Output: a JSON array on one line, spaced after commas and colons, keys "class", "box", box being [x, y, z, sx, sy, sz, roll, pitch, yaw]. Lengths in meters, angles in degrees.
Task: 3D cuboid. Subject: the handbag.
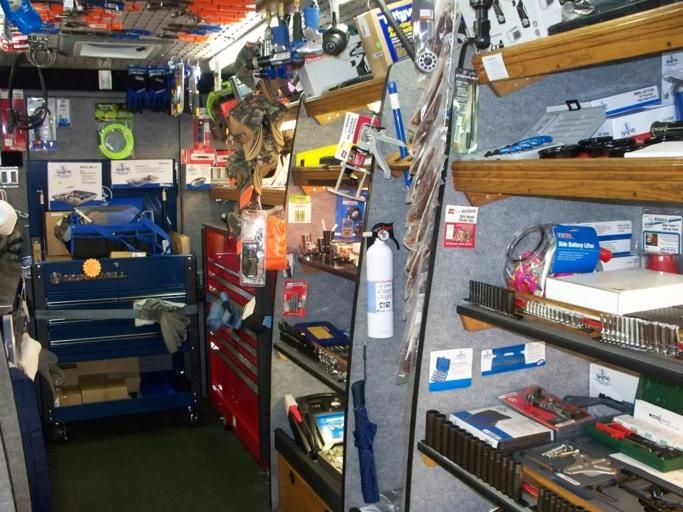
[{"class": "handbag", "box": [-2.027, -0.214, 4.802, 0.650, 0.272, 0.627, -2, 6, -31]}]

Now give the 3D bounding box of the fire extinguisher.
[{"class": "fire extinguisher", "box": [0.169, 0.102, 2.233, 0.140, 0.468, 0.196, 0, 8, 6]}]

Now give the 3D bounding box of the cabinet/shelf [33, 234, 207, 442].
[{"class": "cabinet/shelf", "box": [-2.073, 0.795, 4.957, 1.322, 1.360, 0.891, -2, 2, -31]}]

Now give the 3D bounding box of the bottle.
[{"class": "bottle", "box": [0.712, 0.004, 1.829, 0.255, 0.220, 0.237, -4, 8, -23]}]

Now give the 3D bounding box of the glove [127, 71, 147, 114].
[{"class": "glove", "box": [-2.194, -1.754, 5.703, 0.242, 0.354, 0.107, 0, 27, -17]}]

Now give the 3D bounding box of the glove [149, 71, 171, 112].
[{"class": "glove", "box": [-1.970, -1.737, 5.788, 0.270, 0.328, 0.122, 3, 23, 0]}]

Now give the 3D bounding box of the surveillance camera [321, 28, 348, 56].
[{"class": "surveillance camera", "box": [-0.034, -0.901, 2.268, 0.106, 0.106, 0.080, 0, 8, 2]}]
